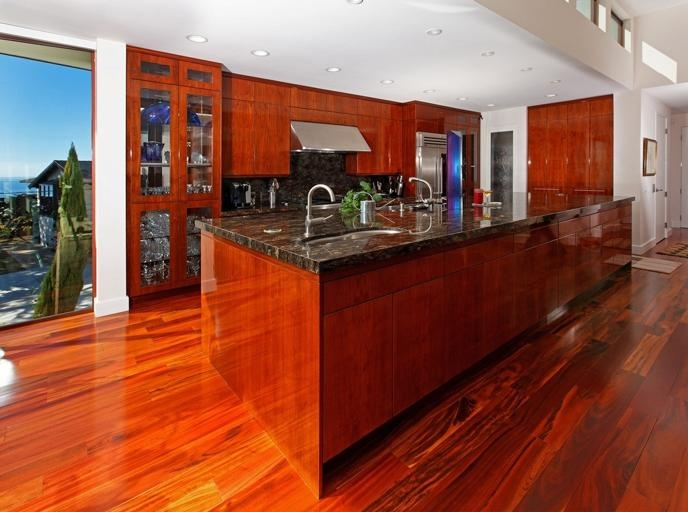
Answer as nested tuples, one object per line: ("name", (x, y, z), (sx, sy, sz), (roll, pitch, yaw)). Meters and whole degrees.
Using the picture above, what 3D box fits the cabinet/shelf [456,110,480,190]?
("cabinet/shelf", (2.462, -1.726, 8.383), (0.220, 1.964, 0.388), (4, 13, 40))

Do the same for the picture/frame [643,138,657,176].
("picture/frame", (5.215, -1.659, 7.173), (0.944, 0.693, 0.058), (-11, 10, -44))

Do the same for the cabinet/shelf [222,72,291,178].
("cabinet/shelf", (-1.164, -1.705, 5.443), (1.213, 1.410, 0.420), (-5, 7, -44))

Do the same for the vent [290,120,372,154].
("vent", (-0.184, -1.739, 6.185), (0.331, 0.431, 1.371), (3, 11, 41))

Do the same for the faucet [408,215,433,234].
("faucet", (0.593, -0.235, 3.193), (0.160, 0.053, 1.005), (-2, 9, 13))

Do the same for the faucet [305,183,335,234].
("faucet", (-0.175, -0.328, 3.059), (0.229, 0.365, 0.071), (2, 4, 16))

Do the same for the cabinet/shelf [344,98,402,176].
("cabinet/shelf", (0.442, -1.947, 6.831), (1.157, 1.338, 0.442), (-4, 5, -41))

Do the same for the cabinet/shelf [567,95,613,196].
("cabinet/shelf", (4.321, -1.888, 7.280), (0.576, 1.627, 0.206), (1, 9, 36))
